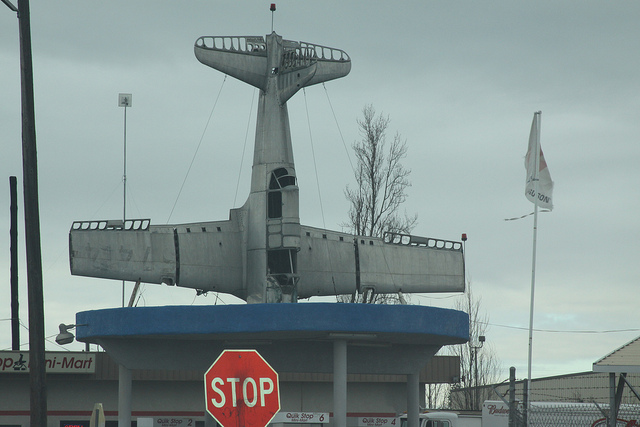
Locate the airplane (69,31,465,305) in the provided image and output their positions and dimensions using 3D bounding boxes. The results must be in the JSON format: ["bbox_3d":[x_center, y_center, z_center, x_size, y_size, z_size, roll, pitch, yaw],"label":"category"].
[{"bbox_3d":[-2.254,-1.624,88.637,18.318,15.629,5.967,3,-9,-19],"label":"airplane"}]
